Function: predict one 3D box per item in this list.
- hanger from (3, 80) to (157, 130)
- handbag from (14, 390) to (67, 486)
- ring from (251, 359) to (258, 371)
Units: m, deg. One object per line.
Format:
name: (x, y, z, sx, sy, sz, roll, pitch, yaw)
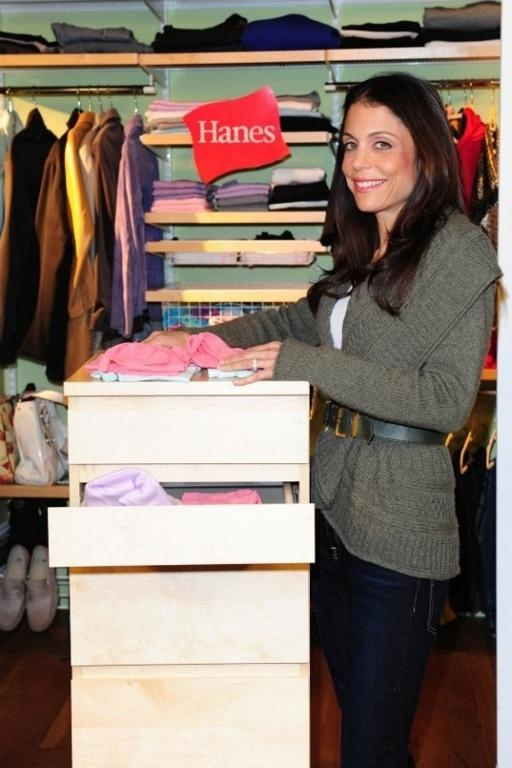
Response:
hanger: (-0.729, -1.178, 2.733, 0.430, 0.098, 0.294, -1, 11, -3)
handbag: (-0.855, 0.212, 2.570, 0.165, 0.371, 0.341, -1, -7, -1)
ring: (-0.002, -0.031, 0.975, 0.013, 0.014, 0.004, 5, 6, 29)
